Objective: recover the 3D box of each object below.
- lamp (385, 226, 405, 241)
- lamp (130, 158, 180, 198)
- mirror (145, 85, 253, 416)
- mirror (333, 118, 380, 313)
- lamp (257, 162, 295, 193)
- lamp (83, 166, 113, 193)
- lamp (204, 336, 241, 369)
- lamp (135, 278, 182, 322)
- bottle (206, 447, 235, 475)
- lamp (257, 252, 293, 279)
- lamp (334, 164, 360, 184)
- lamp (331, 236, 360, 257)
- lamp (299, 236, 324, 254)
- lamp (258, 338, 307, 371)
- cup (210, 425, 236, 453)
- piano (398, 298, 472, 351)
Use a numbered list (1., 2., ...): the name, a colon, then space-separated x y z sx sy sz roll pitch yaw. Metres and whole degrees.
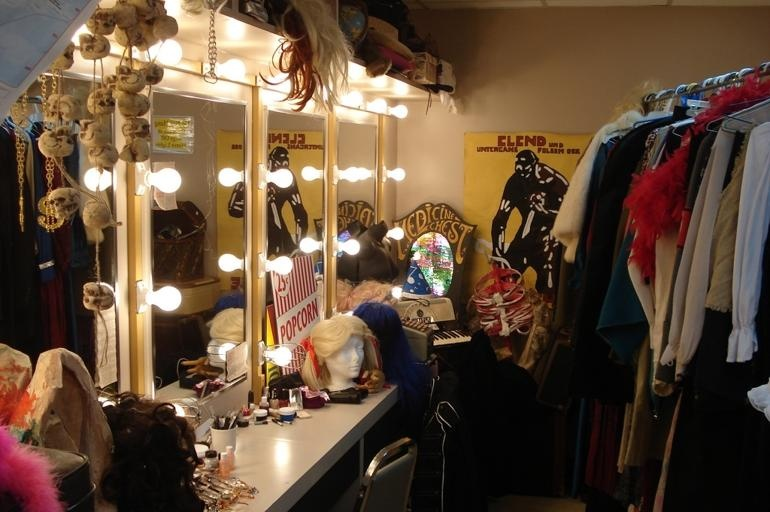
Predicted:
1. lamp: 0.074 -0.154 3.927 0.132 0.063 0.061 -10 -14 42
2. lamp: -0.832 -0.282 2.090 0.168 0.132 0.126 3 2 -2
3. mirror: -0.756 -0.077 2.358 0.048 1.174 0.513 3 3 23
4. mirror: -0.157 -0.298 3.569 0.096 1.237 0.811 3 3 19
5. lamp: -0.510 -0.365 2.699 0.125 0.079 0.102 -2 2 12
6. lamp: -0.939 -0.251 1.878 0.073 0.075 0.088 28 7 17
7. lamp: -0.716 0.417 2.490 0.107 0.083 0.102 -2 -1 -6
8. lamp: -0.834 0.156 2.128 0.132 0.090 0.104 -3 -4 15
9. bottle: -0.613 0.775 2.143 0.105 0.083 0.068 1 3 -18
10. lamp: -0.521 0.064 2.787 0.194 0.107 0.107 3 -41 2
11. lamp: -0.212 -0.484 3.401 0.104 0.108 0.236 8 6 44
12. lamp: -0.230 -0.049 3.399 0.156 0.075 0.074 3 4 14
13. lamp: -0.404 -0.053 3.092 0.053 0.055 0.102 -9 -9 41
14. lamp: -0.476 0.500 2.864 0.143 0.140 0.354 3 3 9
15. cup: -0.634 0.722 2.250 0.083 0.088 0.091 3 -2 0
16. piano: 0.299 0.405 3.552 0.460 0.269 0.642 2 3 1
